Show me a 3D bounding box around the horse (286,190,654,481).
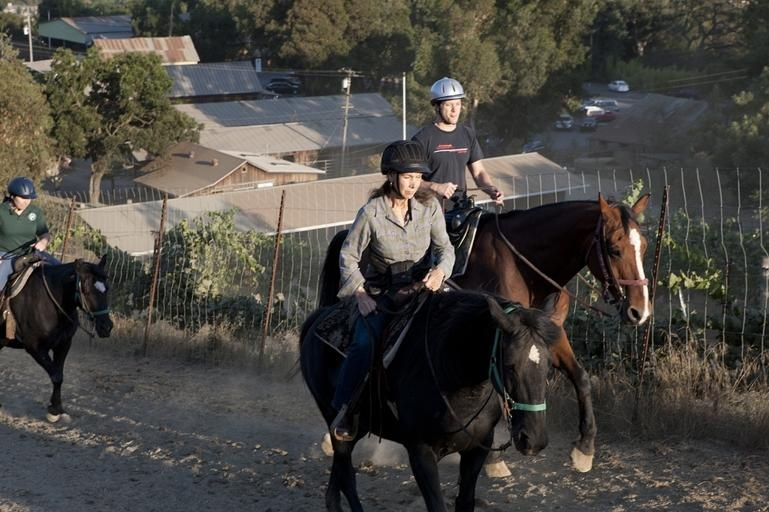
[{"bbox_3d":[3.315,2.734,41.064,12.924,9.775,3.335,4,4,39],"label":"horse"}]
